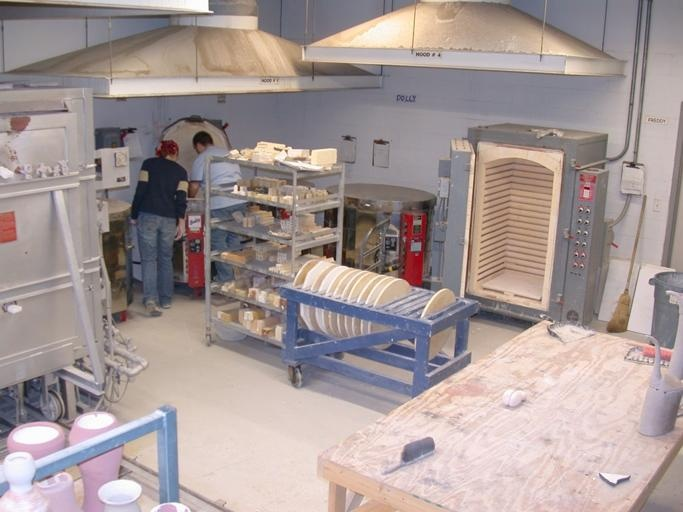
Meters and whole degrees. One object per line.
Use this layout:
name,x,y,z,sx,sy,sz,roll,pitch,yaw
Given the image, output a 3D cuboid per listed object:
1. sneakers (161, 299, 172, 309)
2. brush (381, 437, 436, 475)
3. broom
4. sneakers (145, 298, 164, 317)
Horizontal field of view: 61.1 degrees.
sneakers,-2.653,0.707,8.659,0.127,0.131,0.294,-1,-1,-22
brush,0.403,1.103,3.331,0.429,0.118,0.110,-18,21,-38
broom,4.130,0.097,8.333,0.258,1.921,0.840,10,18,36
sneakers,-2.743,0.754,8.415,0.137,0.151,0.342,-9,17,-31
